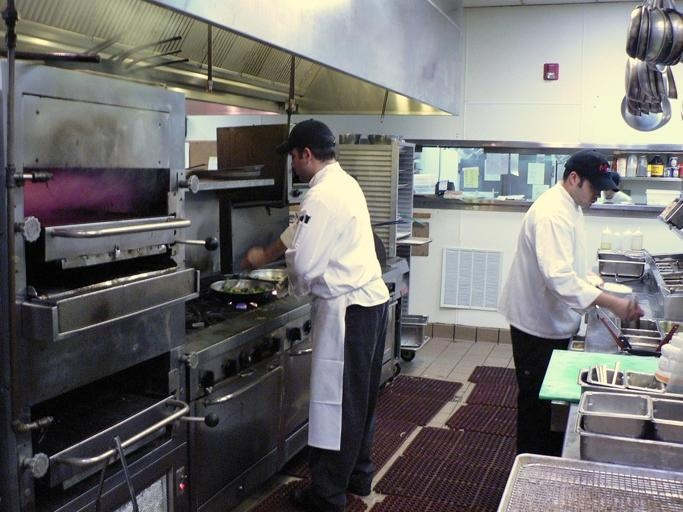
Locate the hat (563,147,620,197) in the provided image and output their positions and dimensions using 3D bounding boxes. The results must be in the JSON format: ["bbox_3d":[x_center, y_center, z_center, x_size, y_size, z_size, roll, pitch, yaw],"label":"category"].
[{"bbox_3d":[1.296,-0.462,2.841,0.214,0.183,0.303,3,13,-40],"label":"hat"}]

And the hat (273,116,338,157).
[{"bbox_3d":[-0.178,-0.587,2.628,0.271,0.171,0.199,-1,13,15],"label":"hat"}]

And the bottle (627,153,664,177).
[{"bbox_3d":[2.777,-0.833,4.968,0.285,0.231,0.184,1,6,12],"label":"bottle"}]

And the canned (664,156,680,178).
[{"bbox_3d":[3.012,-0.822,4.942,0.121,0.195,0.137,6,9,32],"label":"canned"}]

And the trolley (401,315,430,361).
[{"bbox_3d":[0.689,0.747,4.985,0.286,0.253,0.373,1,10,20],"label":"trolley"}]

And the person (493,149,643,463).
[{"bbox_3d":[1.133,0.284,2.836,0.575,1.654,0.463,3,8,18],"label":"person"}]
